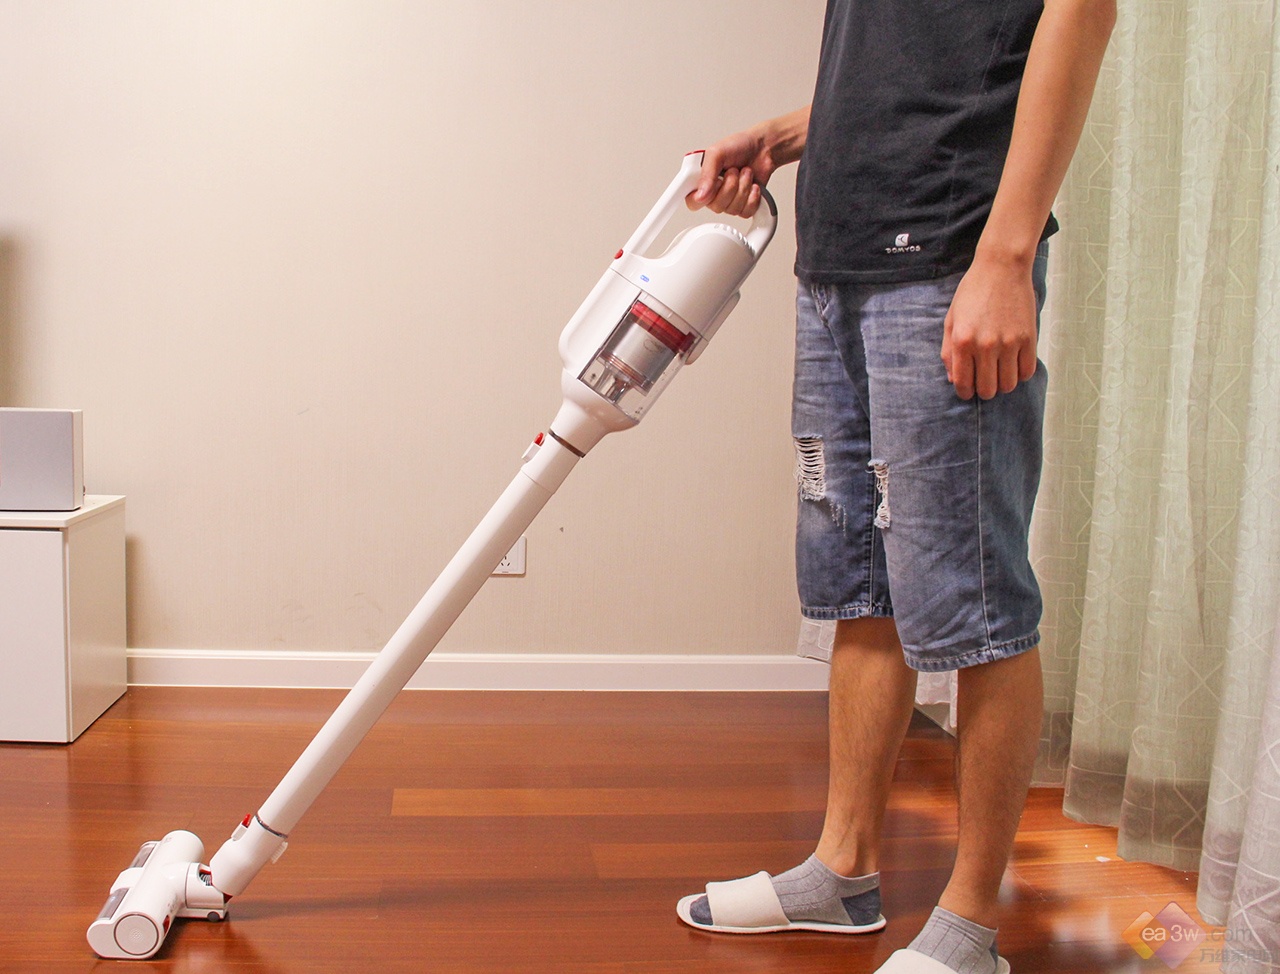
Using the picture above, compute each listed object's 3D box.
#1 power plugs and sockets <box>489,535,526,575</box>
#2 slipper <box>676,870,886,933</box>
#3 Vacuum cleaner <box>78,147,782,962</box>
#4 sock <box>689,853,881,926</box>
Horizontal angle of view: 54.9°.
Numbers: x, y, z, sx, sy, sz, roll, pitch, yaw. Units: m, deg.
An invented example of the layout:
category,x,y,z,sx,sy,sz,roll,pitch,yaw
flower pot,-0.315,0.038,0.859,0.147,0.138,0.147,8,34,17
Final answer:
category,x,y,z,sx,sy,sz,roll,pitch,yaw
power plugs and sockets,-0.280,0.145,2.711,0.115,0.106,0.027,-2,7,-11
slipper,0.223,0.640,1.930,0.305,0.071,0.120,2,-10,1
Vacuum cleaner,-0.487,0.094,2.444,0.226,1.581,0.316,33,6,-34
sock,0.227,0.635,1.991,0.327,0.115,0.118,2,-12,4
